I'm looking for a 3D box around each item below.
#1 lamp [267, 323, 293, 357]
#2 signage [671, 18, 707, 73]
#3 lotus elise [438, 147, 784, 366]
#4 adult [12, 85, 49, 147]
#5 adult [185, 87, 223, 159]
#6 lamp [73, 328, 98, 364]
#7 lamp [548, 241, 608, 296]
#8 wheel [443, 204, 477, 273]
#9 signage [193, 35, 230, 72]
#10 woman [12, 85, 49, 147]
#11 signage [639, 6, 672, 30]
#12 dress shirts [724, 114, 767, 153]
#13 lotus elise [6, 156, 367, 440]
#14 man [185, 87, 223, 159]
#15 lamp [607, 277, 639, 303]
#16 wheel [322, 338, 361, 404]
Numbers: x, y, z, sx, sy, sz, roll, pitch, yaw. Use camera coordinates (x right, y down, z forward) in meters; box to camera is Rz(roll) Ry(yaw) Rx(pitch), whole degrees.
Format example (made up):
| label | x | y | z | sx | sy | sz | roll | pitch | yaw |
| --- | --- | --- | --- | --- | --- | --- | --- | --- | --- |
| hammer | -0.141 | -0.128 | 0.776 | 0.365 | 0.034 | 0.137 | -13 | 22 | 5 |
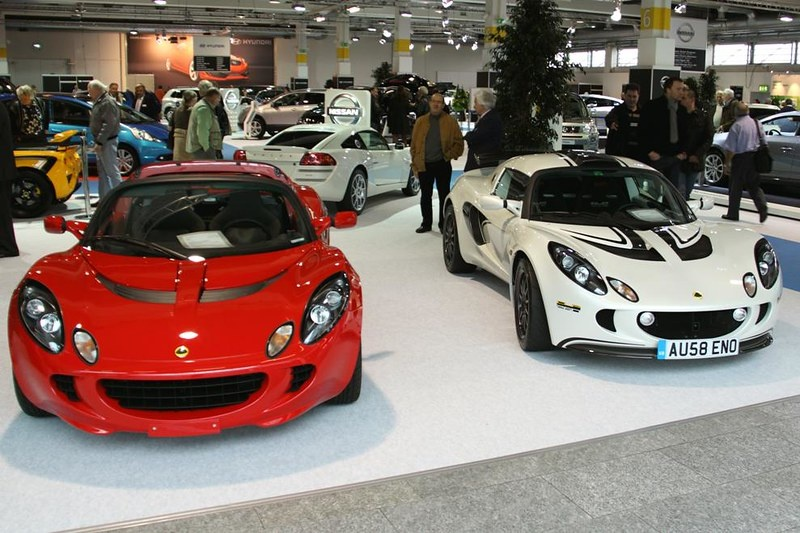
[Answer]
| label | x | y | z | sx | sy | sz | roll | pitch | yaw |
| --- | --- | --- | --- | --- | --- | --- | --- | --- | --- |
| lamp | -0.703 | 0.432 | 2.772 | 0.094 | 0.140 | 0.199 | 6 | 15 | 23 |
| signage | 11.286 | -8.587 | 18.338 | 2.249 | 2.049 | 0.760 | -12 | 18 | -42 |
| lotus elise | 1.709 | -0.319 | 5.191 | 1.783 | 1.166 | 3.454 | -3 | 13 | -10 |
| adult | -7.673 | -3.123 | 9.772 | 0.576 | 1.295 | 2.382 | -9 | 17 | -35 |
| adult | -3.668 | -2.669 | 8.832 | 0.664 | 1.278 | 0.415 | -5 | 14 | -21 |
| lamp | -1.784 | 0.457 | 2.690 | 0.144 | 0.187 | 0.047 | -9 | -22 | -24 |
| lamp | 1.461 | 0.039 | 3.889 | 0.254 | 0.118 | 0.442 | -35 | 63 | -25 |
| wheel | 0.798 | -0.365 | 6.152 | 0.214 | 0.664 | 0.673 | -3 | 51 | -12 |
| signage | -14.352 | -16.364 | 37.125 | 2.880 | 2.767 | 0.680 | 1 | 7 | 2 |
| woman | -7.658 | -3.110 | 9.752 | 0.574 | 1.278 | 2.224 | -9 | 17 | -35 |
| signage | 8.393 | -8.003 | 15.513 | 0.863 | 0.860 | 0.854 | 3 | 3 | 16 |
| dress shirts | 6.410 | -2.449 | 8.748 | 0.756 | 0.656 | 0.378 | -7 | 19 | 10 |
| lotus elise | -1.287 | -0.090 | 3.802 | 1.575 | 0.981 | 2.753 | 0 | 19 | -4 |
| man | -3.668 | -2.669 | 8.832 | 0.664 | 1.278 | 0.415 | -5 | 14 | -21 |
| lamp | 1.750 | 0.186 | 3.723 | 0.120 | 0.219 | 0.053 | -45 | -12 | -13 |
| wheel | -0.380 | 0.662 | 3.069 | 0.173 | 0.535 | 0.527 | 0 | 2 | 5 |
